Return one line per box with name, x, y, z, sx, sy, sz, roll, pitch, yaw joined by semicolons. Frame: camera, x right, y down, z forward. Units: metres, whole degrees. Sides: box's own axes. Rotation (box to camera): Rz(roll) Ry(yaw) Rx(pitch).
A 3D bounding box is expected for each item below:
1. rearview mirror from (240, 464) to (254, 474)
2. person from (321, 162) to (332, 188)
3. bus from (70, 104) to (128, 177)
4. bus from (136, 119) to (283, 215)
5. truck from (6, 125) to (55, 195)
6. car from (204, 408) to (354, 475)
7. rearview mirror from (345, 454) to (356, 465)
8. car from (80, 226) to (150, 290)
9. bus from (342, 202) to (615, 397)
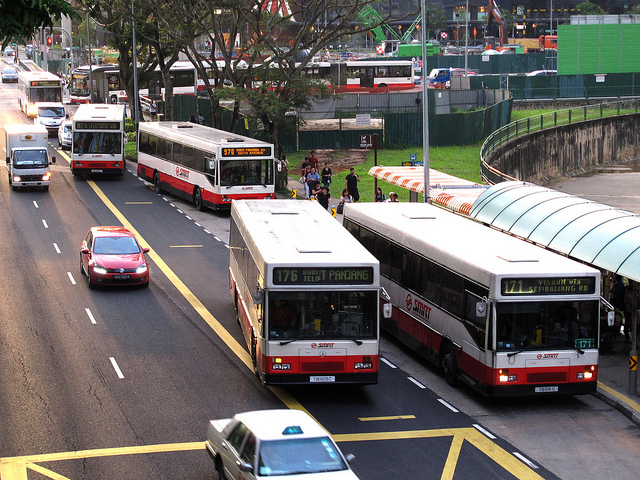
rearview mirror;-1.458;4.511;16.444;0.165;0.057;0.188;6;5;7
person;0.239;-3.409;43.643;0.376;1.359;0.980;3;13;9
bus;-13.852;-6.183;51.734;2.839;5.526;2.430;-5;12;-18
bus;-7.077;-4.166;47.978;3.578;4.569;13.362;-3;12;-21
truck;-17.498;-4.976;50.031;2.020;3.254;5.829;-3;11;-17
car;-1.198;4.129;17.487;1.286;1.029;2.618;-2;4;-22
rearview mirror;0.589;4.447;16.883;0.173;0.227;0.190;9;-11;-33
car;-7.982;0.813;32.008;2.210;1.854;2.959;-11;18;-41
bus;4.152;1.619;28.211;3.306;4.164;13.773;0;7;-15
